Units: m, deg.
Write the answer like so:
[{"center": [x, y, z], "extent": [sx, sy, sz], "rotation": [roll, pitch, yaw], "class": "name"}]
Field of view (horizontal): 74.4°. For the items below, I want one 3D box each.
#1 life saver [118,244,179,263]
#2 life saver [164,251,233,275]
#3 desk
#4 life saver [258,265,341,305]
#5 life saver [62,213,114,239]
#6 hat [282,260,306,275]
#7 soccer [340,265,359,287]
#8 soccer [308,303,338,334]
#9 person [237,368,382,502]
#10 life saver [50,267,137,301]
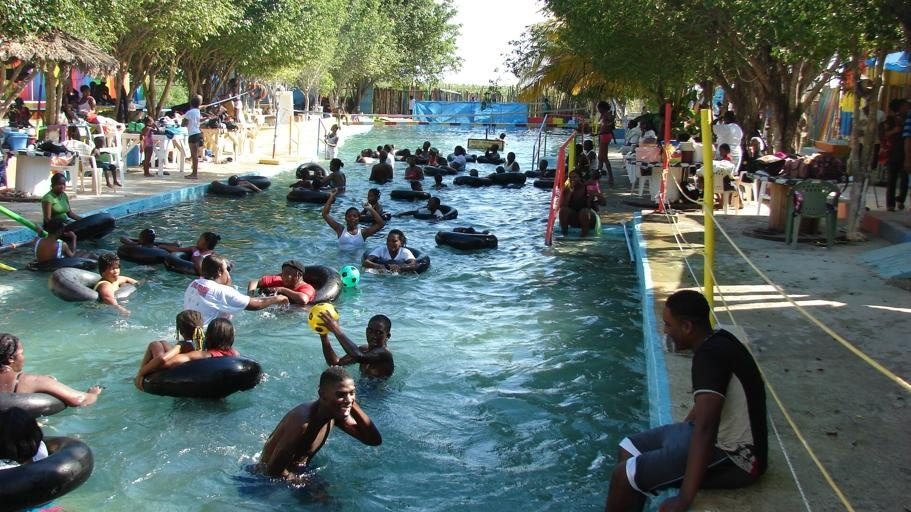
[{"center": [-6.765, -0.001, 13.029], "extent": [1.178, 0.377, 0.318], "rotation": [3, 6, 21], "class": "life saver"}, {"center": [-5.639, 0.191, 12.641], "extent": [1.102, 0.261, 0.921], "rotation": [7, 9, 11], "class": "life saver"}, {"center": [6.313, -2.383, 18.500], "extent": [2.604, 0.765, 2.376], "rotation": [2, 20, 10], "class": "desk"}, {"center": [-2.823, 0.504, 11.802], "extent": [1.010, 0.239, 0.925], "rotation": [9, 25, 13], "class": "life saver"}, {"center": [-8.485, -0.660, 14.028], "extent": [0.969, 0.616, 0.475], "rotation": [-3, 7, -36], "class": "life saver"}, {"center": [-3.125, 0.246, 11.524], "extent": [0.369, 0.251, 0.391], "rotation": [0, 6, -9], "class": "hat"}, {"center": [-2.166, 0.438, 12.396], "extent": [0.431, 0.372, 0.412], "rotation": [2, 0, -34], "class": "soccer"}, {"center": [-1.930, 0.966, 8.769], "extent": [0.367, 0.489, 0.317], "rotation": [-3, 7, -32], "class": "soccer"}, {"center": [-1.722, 2.042, 7.047], "extent": [1.543, 1.593, 0.500], "rotation": [2, 6, 9], "class": "person"}, {"center": [-6.948, 0.544, 11.116], "extent": [1.048, 0.565, 0.521], "rotation": [2, 6, 13], "class": "life saver"}]
